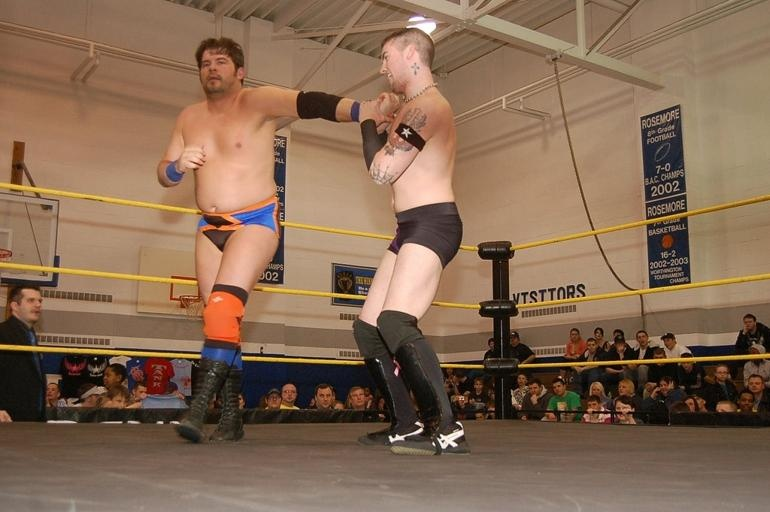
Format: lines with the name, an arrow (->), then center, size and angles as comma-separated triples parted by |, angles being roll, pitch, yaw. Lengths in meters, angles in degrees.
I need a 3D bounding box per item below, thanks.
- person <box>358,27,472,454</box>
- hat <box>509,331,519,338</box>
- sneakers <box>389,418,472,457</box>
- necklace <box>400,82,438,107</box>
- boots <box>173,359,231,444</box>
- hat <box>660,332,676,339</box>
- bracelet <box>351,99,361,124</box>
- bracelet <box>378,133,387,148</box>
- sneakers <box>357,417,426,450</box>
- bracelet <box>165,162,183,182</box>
person -> 0.120, -0.138, 3.636 | 0.549, 2.249, 0.572 | 4, -9, -19
hat -> 2.110, 1.282, 11.201 | 0.124, 0.091, 0.189 | 0, -2, 19
sneakers -> 0.232, 0.902, 3.325 | 0.427, 0.162, 0.138 | 0, -16, 4
necklace -> 0.155, -0.845, 3.671 | 0.169, 0.132, 0.023 | -10, -58, 47
boots -> -0.935, 0.741, 3.541 | 0.240, 0.423, 0.350 | 3, -8, -12
hat -> 3.678, 1.037, 8.873 | 0.148, 0.044, 0.102 | 4, -17, -39
bracelet -> -0.162, -0.780, 3.711 | 0.083, 0.097, 0.102 | 4, -4, -5
bracelet -> -0.012, -0.641, 3.732 | 0.021, 0.080, 0.077 | 4, -40, 14
sneakers -> 0.039, 0.920, 3.554 | 0.387, 0.142, 0.127 | -5, -30, 1
bracelet -> -1.199, -0.474, 3.879 | 0.071, 0.091, 0.097 | -24, -27, 22
